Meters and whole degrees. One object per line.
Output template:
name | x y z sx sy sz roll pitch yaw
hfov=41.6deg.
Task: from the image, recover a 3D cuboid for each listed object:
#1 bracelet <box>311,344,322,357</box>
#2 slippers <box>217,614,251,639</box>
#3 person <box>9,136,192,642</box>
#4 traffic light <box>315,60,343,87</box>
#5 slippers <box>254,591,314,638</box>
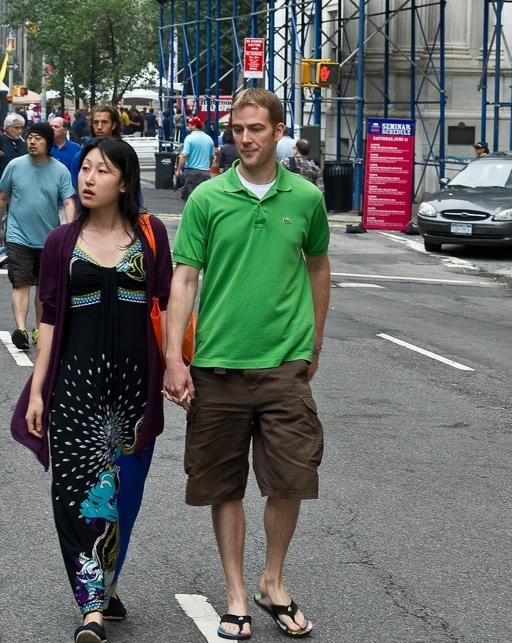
bracelet | 0.213 0.101 2.340 0.044 0.032 0.051 7 -26 10
slippers | -0.065 0.903 1.992 0.100 0.055 0.084 1 0 -1
person | -0.501 0.196 1.989 0.479 1.268 0.429 2 -1 -8
traffic light | 2.100 -7.304 19.694 0.659 0.493 0.480 1 0 3
slippers | 0.077 0.905 2.136 0.079 0.050 0.200 -20 26 -26
